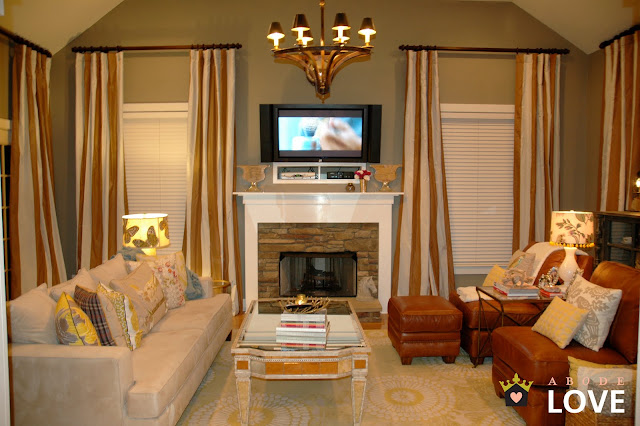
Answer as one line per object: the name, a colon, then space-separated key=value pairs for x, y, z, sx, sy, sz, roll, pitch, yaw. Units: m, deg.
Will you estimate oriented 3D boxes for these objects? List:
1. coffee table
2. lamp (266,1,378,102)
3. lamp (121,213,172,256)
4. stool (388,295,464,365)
coffee table: x=-0.189 y=1.375 z=5.035 sx=1.004 sy=0.604 sz=1.293 roll=-1 pitch=3 yaw=-3
lamp: x=-0.072 y=-1.505 z=5.418 sx=1.305 sy=1.275 sz=1.248 roll=-3 pitch=15 yaw=-9
lamp: x=-2.144 y=0.297 z=6.242 sx=0.560 sy=0.609 sz=0.550 roll=4 pitch=14 yaw=6
stool: x=1.216 y=1.293 z=5.779 sx=0.733 sy=0.565 sz=0.739 roll=-1 pitch=5 yaw=-1
